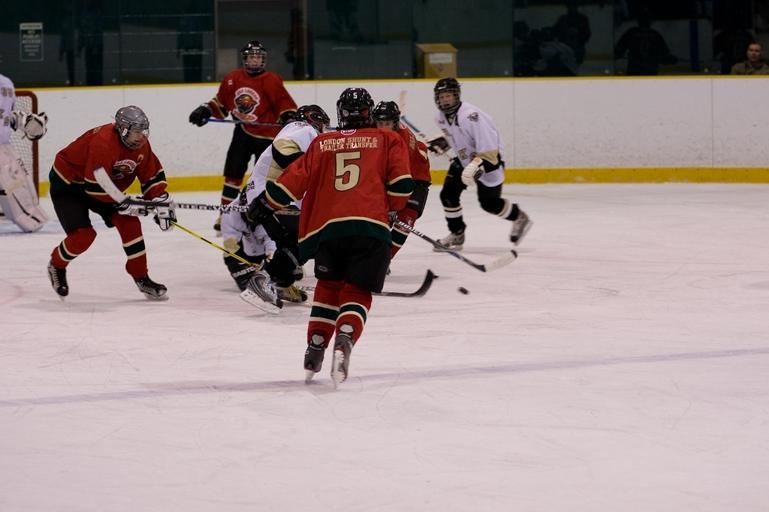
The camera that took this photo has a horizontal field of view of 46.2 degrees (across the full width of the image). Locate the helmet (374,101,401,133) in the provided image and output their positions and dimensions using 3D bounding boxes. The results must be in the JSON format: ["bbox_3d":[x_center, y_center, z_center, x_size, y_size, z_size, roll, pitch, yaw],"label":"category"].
[{"bbox_3d":[0.027,-0.864,5.540,0.180,0.171,0.207,-2,9,7],"label":"helmet"}]

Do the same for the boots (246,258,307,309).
[{"bbox_3d":[-0.693,0.206,5.317,0.169,0.243,0.509,22,9,35],"label":"boots"}]

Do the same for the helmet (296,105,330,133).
[{"bbox_3d":[-0.419,-0.826,5.460,0.214,0.168,0.166,-12,22,-18],"label":"helmet"}]

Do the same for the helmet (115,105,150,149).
[{"bbox_3d":[-1.492,-0.756,5.296,0.186,0.238,0.168,-3,13,-16],"label":"helmet"}]

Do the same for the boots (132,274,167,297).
[{"bbox_3d":[-1.423,0.180,5.545,0.268,0.098,0.091,12,38,26],"label":"boots"}]

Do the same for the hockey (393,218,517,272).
[{"bbox_3d":[0.343,-0.051,5.515,0.258,0.062,0.776,24,7,-46],"label":"hockey"}]

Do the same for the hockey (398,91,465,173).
[{"bbox_3d":[0.361,-1.316,8.956,0.304,0.242,1.781,-28,-6,10],"label":"hockey"}]

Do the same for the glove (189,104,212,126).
[{"bbox_3d":[-1.477,-1.133,7.251,0.185,0.178,0.078,8,-20,0],"label":"glove"}]

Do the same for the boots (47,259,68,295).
[{"bbox_3d":[-2.017,0.144,5.474,0.084,0.234,0.120,-22,6,-33],"label":"boots"}]

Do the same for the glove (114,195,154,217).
[{"bbox_3d":[-1.475,-0.301,5.339,0.162,0.063,0.143,1,-12,1],"label":"glove"}]

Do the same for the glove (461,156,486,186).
[{"bbox_3d":[0.609,-0.591,6.327,0.153,0.197,0.090,45,4,33],"label":"glove"}]

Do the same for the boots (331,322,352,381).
[{"bbox_3d":[-0.196,0.433,4.017,0.098,0.233,0.122,7,5,2],"label":"boots"}]

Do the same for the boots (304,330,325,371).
[{"bbox_3d":[-0.319,0.443,4.139,0.078,0.089,0.191,4,38,1],"label":"boots"}]

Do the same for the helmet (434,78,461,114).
[{"bbox_3d":[0.447,-1.162,6.563,0.219,0.232,0.268,-4,13,11],"label":"helmet"}]

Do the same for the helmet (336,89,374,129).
[{"bbox_3d":[-0.142,-0.705,4.335,0.203,0.186,0.230,-1,3,-4],"label":"helmet"}]

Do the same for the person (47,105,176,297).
[{"bbox_3d":[-1.677,-0.316,5.468,0.754,1.170,0.474,-2,13,-14],"label":"person"}]

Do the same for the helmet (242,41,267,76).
[{"bbox_3d":[-1.063,-1.629,7.315,0.235,0.215,0.268,1,14,-5],"label":"helmet"}]

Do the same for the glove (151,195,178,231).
[{"bbox_3d":[-1.338,-0.253,5.432,0.164,0.212,0.102,-2,-3,-5],"label":"glove"}]
